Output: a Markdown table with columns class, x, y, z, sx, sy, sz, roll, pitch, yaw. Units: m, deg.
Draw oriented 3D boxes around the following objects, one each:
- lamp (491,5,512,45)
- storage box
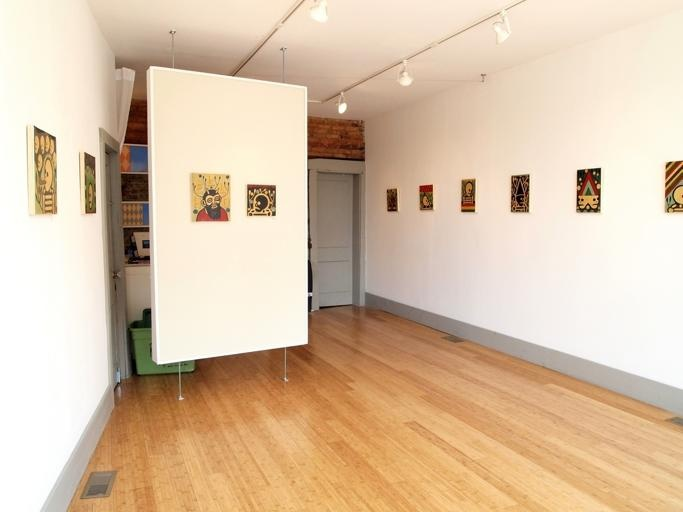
| class | x | y | z | sx | sy | sz | roll | pitch | yaw |
| --- | --- | --- | --- | --- | --- | --- | --- | --- | --- |
| lamp | 1.506 | -2.180 | 4.515 | 0.098 | 0.276 | 0.071 | -10 | 22 | 1 |
| storage box | -2.192 | 1.169 | 5.882 | 0.706 | 0.517 | 0.505 | 0 | 0 | -21 |
